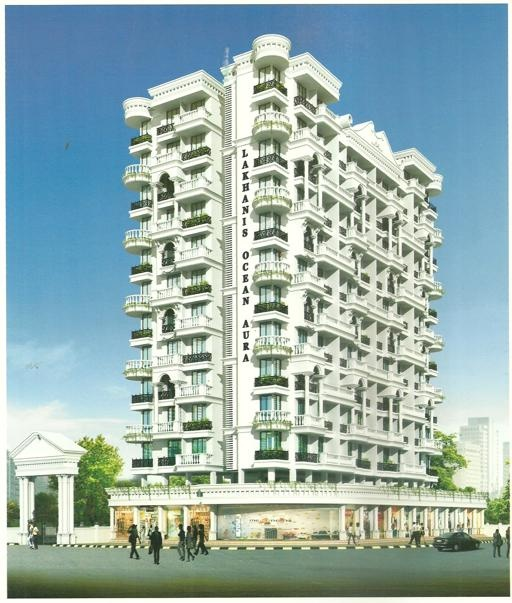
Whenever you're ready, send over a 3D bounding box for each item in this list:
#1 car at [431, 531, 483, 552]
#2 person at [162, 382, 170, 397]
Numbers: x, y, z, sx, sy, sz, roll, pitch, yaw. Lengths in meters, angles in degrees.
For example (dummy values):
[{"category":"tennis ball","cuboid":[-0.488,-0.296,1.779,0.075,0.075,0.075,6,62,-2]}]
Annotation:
[{"category":"car","cuboid":[13.756,16.665,108.149,2.994,0.954,1.350,5,-10,-38]},{"category":"person","cuboid":[-6.774,6.979,121.061,0.471,1.060,0.715,1,6,-8]}]
